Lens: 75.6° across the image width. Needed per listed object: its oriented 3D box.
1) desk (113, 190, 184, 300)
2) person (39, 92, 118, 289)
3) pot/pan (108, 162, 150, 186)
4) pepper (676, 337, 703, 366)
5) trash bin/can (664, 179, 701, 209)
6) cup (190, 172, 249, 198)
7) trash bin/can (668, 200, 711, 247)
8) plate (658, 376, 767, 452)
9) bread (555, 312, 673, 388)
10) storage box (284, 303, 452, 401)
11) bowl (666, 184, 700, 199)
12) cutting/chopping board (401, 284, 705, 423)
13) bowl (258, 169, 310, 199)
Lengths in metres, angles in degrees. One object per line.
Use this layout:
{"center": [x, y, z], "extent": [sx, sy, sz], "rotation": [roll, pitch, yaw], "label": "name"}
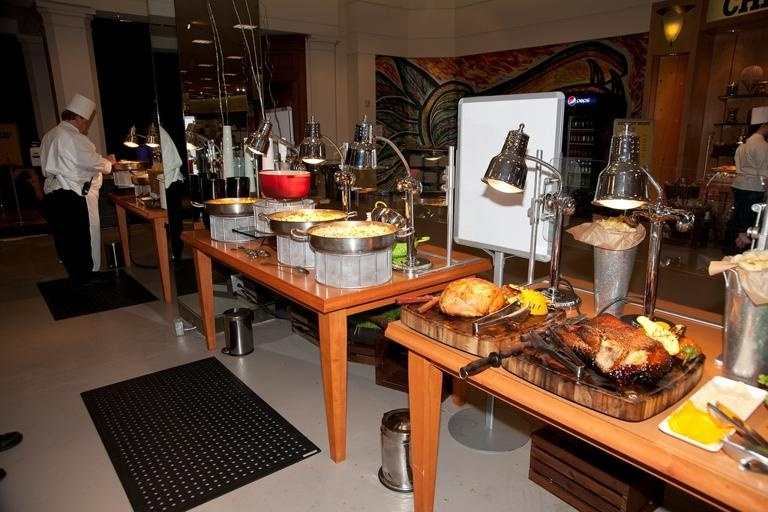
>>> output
{"center": [-2.746, -0.117, 5.773], "extent": [1.200, 0.751, 0.692], "rotation": [18, 20, 40], "label": "desk"}
{"center": [-3.786, -0.707, 6.120], "extent": [0.642, 1.863, 0.696], "rotation": [11, 24, 30], "label": "person"}
{"center": [-3.236, -1.077, 6.340], "extent": [0.477, 0.334, 0.452], "rotation": [2, 18, -10], "label": "pot/pan"}
{"center": [1.256, 0.391, 2.071], "extent": [0.084, 0.063, 0.115], "rotation": [2, 15, 37], "label": "pepper"}
{"center": [2.589, -0.520, 4.386], "extent": [0.326, 0.227, 0.309], "rotation": [-1, 2, -44], "label": "trash bin/can"}
{"center": [-1.454, -0.628, 4.447], "extent": [0.434, 0.392, 0.228], "rotation": [5, 7, -8], "label": "cup"}
{"center": [2.360, -0.267, 3.827], "extent": [0.273, 0.405, 0.430], "rotation": [4, 4, 40], "label": "trash bin/can"}
{"center": [1.267, 0.686, 1.954], "extent": [0.196, 0.039, 0.476], "rotation": [17, 36, 43], "label": "plate"}
{"center": [0.920, 0.364, 2.027], "extent": [0.257, 0.122, 0.340], "rotation": [-16, 26, -29], "label": "bread"}
{"center": [-0.122, 0.733, 3.815], "extent": [0.881, 0.782, 0.215], "rotation": [18, 11, 40], "label": "storage box"}
{"center": [2.578, -0.577, 4.345], "extent": [0.187, 0.111, 0.181], "rotation": [0, 9, 0], "label": "bowl"}
{"center": [0.625, 0.439, 2.140], "extent": [0.894, 0.095, 0.495], "rotation": [14, 23, 43], "label": "cutting/chopping board"}
{"center": [-0.717, -0.541, 3.634], "extent": [0.246, 0.114, 0.293], "rotation": [-12, 21, -34], "label": "bowl"}
